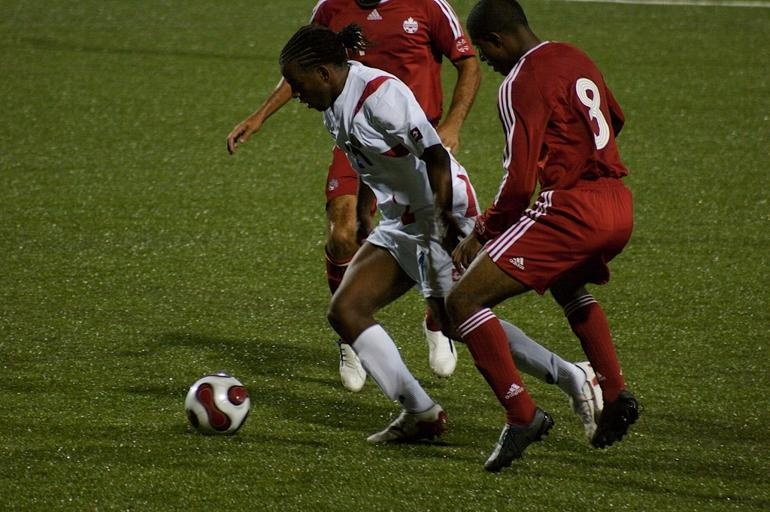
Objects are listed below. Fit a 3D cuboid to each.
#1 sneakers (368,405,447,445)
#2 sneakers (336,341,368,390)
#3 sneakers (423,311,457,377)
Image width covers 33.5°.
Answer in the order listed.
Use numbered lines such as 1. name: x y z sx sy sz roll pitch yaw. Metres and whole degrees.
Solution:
1. sneakers: 0.162 1.026 7.524 0.537 0.201 0.180 -12 -16 4
2. sneakers: -0.240 0.703 8.083 0.129 0.146 0.359 -22 41 1
3. sneakers: 0.308 0.539 8.271 0.176 0.193 0.473 -14 48 4
